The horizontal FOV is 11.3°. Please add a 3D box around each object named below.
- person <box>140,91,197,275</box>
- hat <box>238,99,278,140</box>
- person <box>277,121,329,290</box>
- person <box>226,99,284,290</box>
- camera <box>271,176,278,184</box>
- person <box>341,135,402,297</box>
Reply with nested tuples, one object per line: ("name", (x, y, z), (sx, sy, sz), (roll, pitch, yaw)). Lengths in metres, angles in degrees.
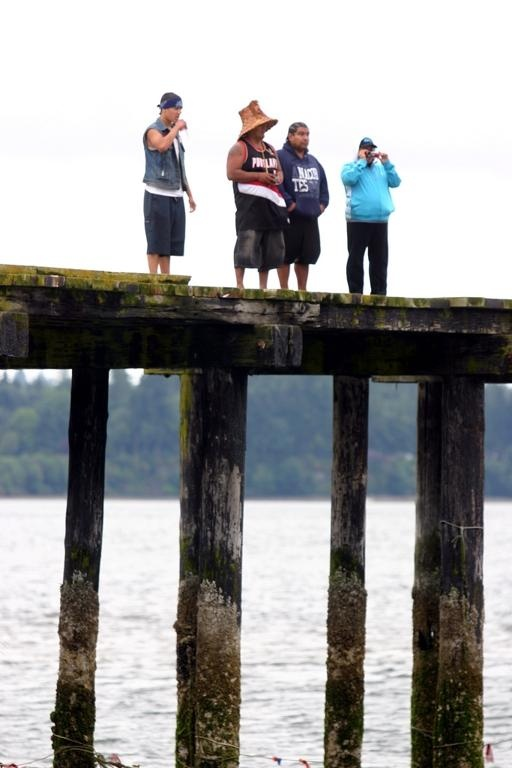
("person", (-0.804, -1.875, 24.157), (0.399, 1.669, 0.496), (1, -7, -3))
("hat", (0.079, -2.506, 23.681), (0.341, 0.364, 1.074), (1, -8, -1))
("person", (0.510, -1.689, 24.632), (0.452, 1.502, 0.552), (0, -7, 4))
("person", (0.076, -1.757, 24.246), (0.549, 1.683, 0.534), (0, -7, 2))
("camera", (0.244, -1.903, 24.186), (0.052, 0.067, 0.126), (-3, 37, 0))
("person", (1.158, -1.600, 24.826), (0.561, 1.456, 0.446), (1, -7, -6))
